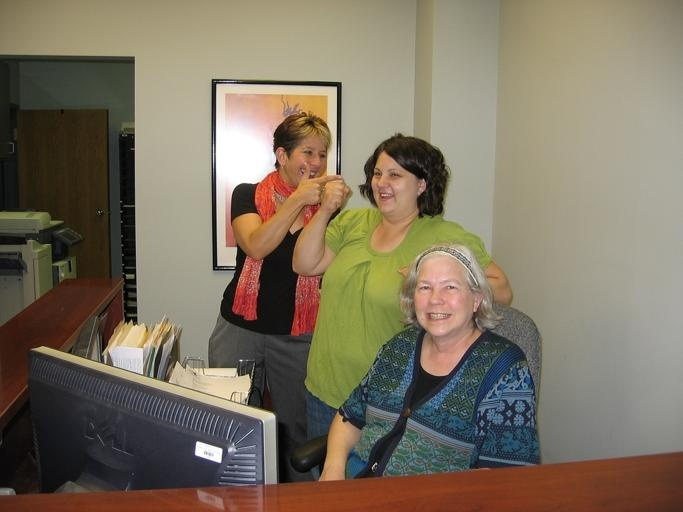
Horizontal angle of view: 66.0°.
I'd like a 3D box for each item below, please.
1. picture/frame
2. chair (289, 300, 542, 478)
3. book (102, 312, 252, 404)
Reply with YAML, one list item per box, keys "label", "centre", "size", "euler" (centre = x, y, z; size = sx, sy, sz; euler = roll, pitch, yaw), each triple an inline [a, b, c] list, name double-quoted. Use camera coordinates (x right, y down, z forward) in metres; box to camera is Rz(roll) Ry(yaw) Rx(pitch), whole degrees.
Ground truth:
- label: "picture/frame"
  centre: [-0.411, -0.601, 3.527]
  size: [0.912, 1.416, 0.035]
  euler: [-1, -21, -7]
- label: "chair"
  centre: [0.185, 0.425, 1.970]
  size: [0.682, 0.902, 0.605]
  euler: [1, 0, -32]
- label: "book"
  centre: [-0.595, 0.398, 1.961]
  size: [0.458, 0.248, 0.354]
  euler: [17, 7, -11]
